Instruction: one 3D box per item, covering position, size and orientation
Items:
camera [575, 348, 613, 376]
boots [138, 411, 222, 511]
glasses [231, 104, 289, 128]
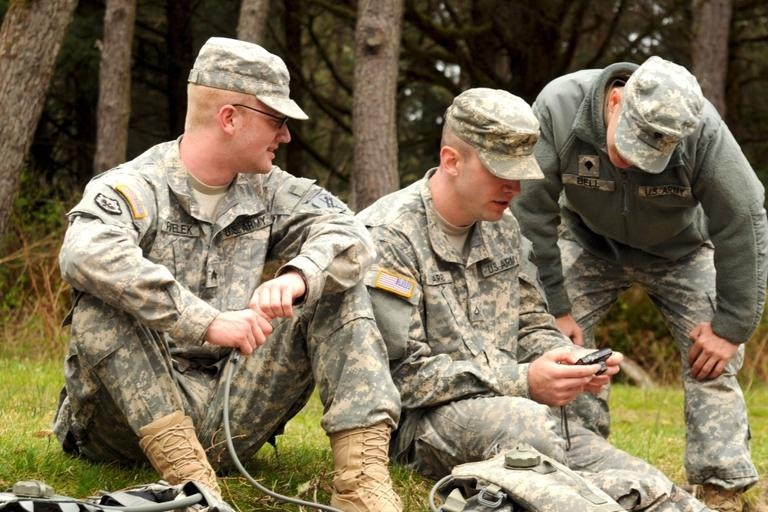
[{"bbox_3d":[1.266,0.647,6.269,0.215,0.116,0.061,-22,35,-12],"label":"camera"},{"bbox_3d":[-1.100,1.103,5.608,0.449,0.151,0.323,44,-1,42],"label":"boots"},{"bbox_3d":[-0.682,-0.820,6.000,0.182,0.046,0.172,21,-3,-17],"label":"glasses"}]
